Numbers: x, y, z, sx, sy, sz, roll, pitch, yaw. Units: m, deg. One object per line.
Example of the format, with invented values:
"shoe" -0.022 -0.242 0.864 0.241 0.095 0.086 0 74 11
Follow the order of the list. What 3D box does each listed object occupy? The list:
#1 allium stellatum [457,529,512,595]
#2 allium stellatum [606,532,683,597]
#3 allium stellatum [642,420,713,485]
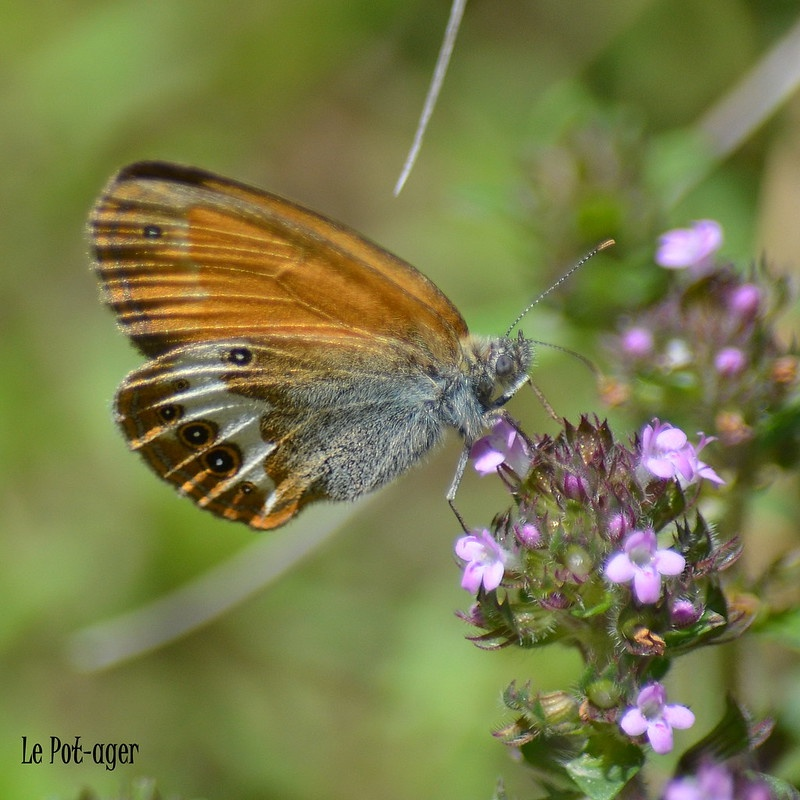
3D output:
"allium stellatum" 0.339 0.666 3.852 0.223 0.266 0.287 -22 -5 2
"allium stellatum" 0.933 0.626 3.577 0.324 0.256 0.096 -1 -36 -2
"allium stellatum" 1.159 0.216 3.902 0.302 0.154 0.319 16 -17 25
